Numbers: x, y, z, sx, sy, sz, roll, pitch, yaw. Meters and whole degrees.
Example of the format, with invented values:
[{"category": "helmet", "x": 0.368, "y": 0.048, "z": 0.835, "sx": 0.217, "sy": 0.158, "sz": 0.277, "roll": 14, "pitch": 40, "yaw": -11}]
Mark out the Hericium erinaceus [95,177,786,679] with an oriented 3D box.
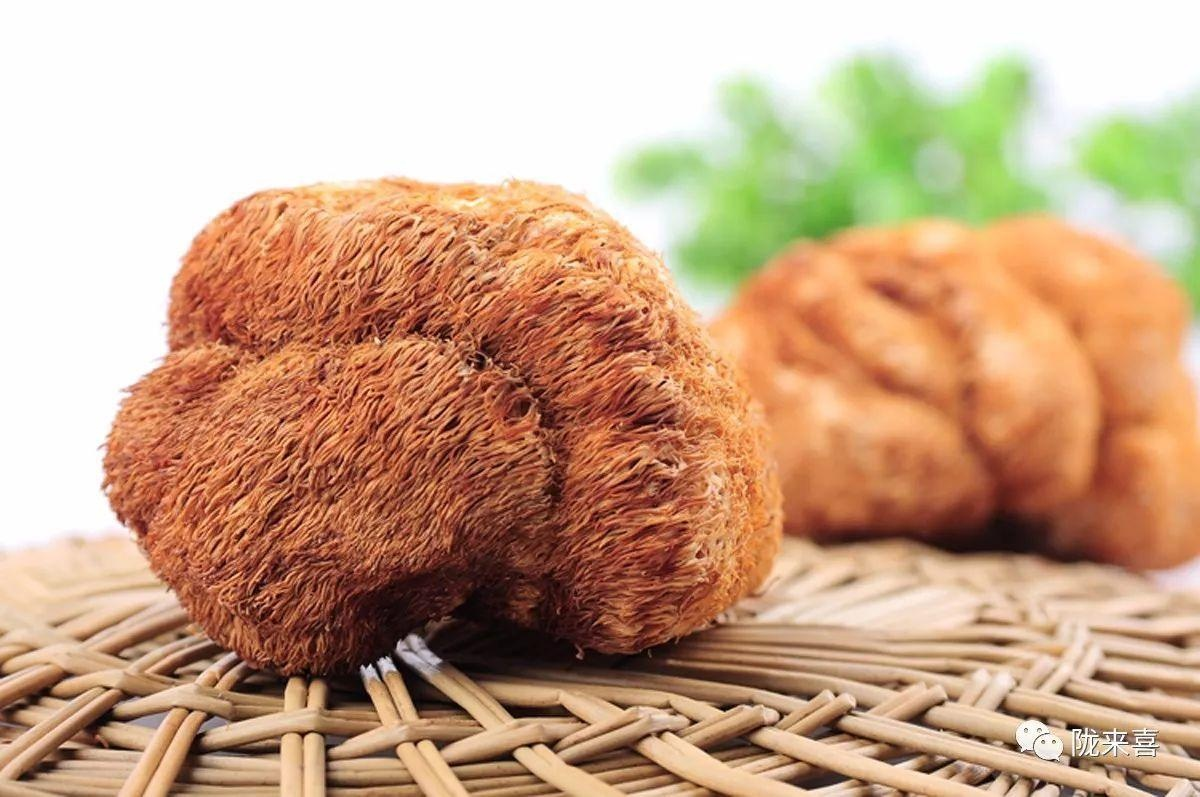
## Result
[{"category": "Hericium erinaceus", "x": -0.185, "y": 0.018, "z": 1.061, "sx": 0.520, "sy": 0.180, "sz": 0.367, "roll": 16, "pitch": 24, "yaw": 20}]
